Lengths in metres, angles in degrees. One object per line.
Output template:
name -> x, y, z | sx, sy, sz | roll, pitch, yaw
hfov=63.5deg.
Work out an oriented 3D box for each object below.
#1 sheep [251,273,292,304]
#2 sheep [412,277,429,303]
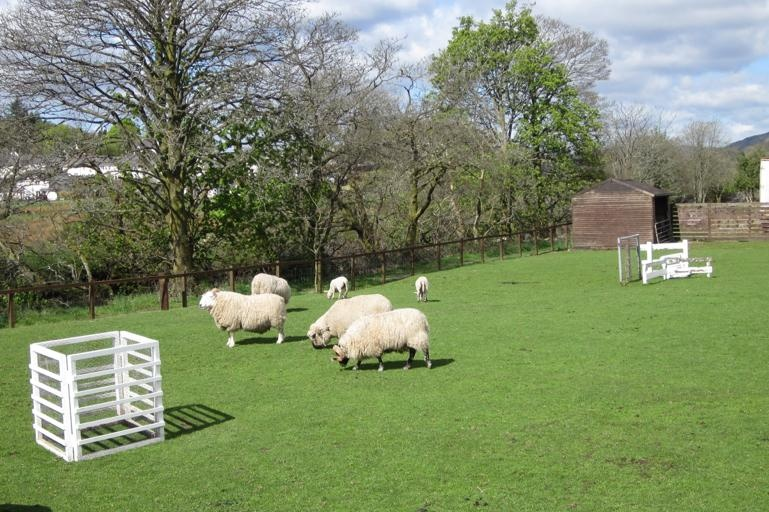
sheep -> -4.118, 1.093, 22.261 | 0.886, 1.104, 2.037 | 6, 4, 30
sheep -> 1.457, 1.258, 24.199 | 0.439, 1.048, 0.578 | -2, 13, -1
